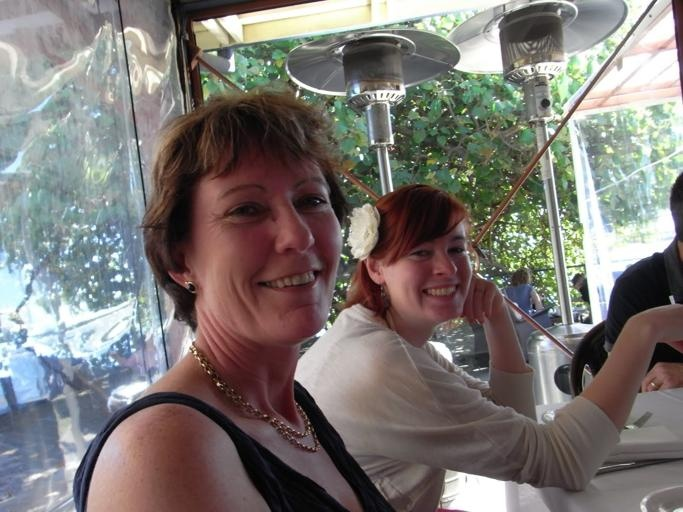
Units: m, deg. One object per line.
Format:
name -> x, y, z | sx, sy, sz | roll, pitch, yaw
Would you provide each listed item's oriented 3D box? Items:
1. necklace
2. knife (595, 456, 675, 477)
necklace -> -0.165, 0.310, 1.032 | 0.018, 0.273, 0.208 | -45, 7, 19
knife -> 0.749, 0.535, 1.312 | 0.271, 0.029, 0.031 | -6, -22, -6
